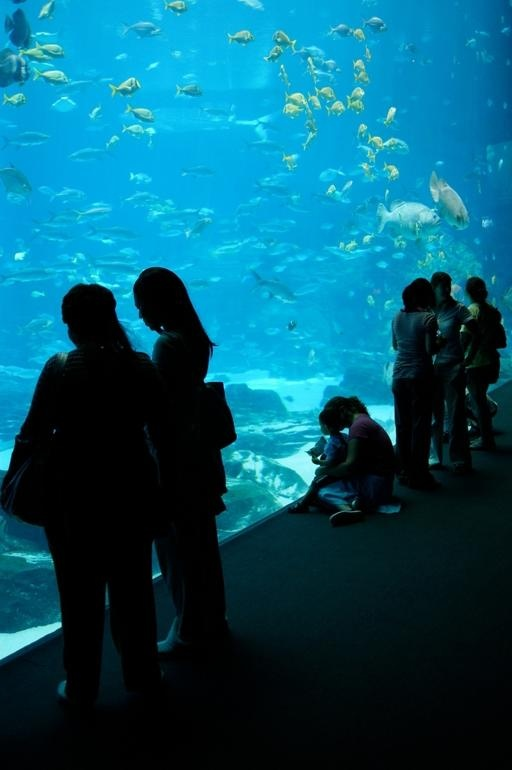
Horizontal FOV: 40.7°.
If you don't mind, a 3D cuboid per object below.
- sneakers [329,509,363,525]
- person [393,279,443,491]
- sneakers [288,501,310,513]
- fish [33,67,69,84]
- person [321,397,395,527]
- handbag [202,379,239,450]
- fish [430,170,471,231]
[{"bbox_3d":[0.595,0.878,4.596,0.236,0.077,0.089,-3,2,-34],"label":"sneakers"},{"bbox_3d":[1.199,0.002,5.224,0.335,1.578,0.414,-1,12,11],"label":"person"},{"bbox_3d":[0.298,0.872,4.870,0.061,0.104,0.165,2,-8,-36],"label":"sneakers"},{"bbox_3d":[-3.094,-4.631,10.417,0.320,0.234,0.697,-3,11,-3],"label":"fish"},{"bbox_3d":[0.717,0.496,4.819,0.535,0.741,0.575,-5,11,-10],"label":"person"},{"bbox_3d":[-0.181,0.141,3.094,0.180,0.282,0.099,-5,-1,-27],"label":"handbag"},{"bbox_3d":[2.291,-2.169,8.208,0.425,0.617,0.626,0,11,15],"label":"fish"}]
